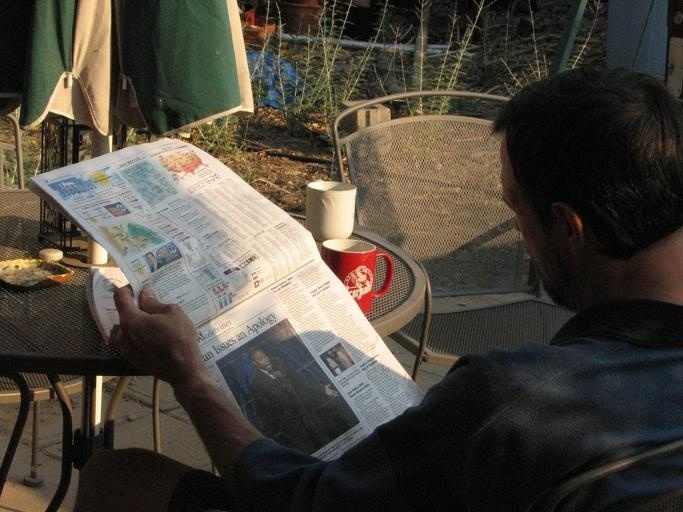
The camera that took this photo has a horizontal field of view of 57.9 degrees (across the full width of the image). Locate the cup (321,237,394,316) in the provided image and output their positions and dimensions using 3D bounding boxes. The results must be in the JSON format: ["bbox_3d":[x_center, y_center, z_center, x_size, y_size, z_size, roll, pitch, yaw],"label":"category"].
[{"bbox_3d":[0.041,0.045,1.226,0.138,0.117,0.085,-2,8,-24],"label":"cup"}]

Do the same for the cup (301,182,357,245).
[{"bbox_3d":[-0.026,-0.103,1.460,0.126,0.126,0.121,3,17,-1],"label":"cup"}]
